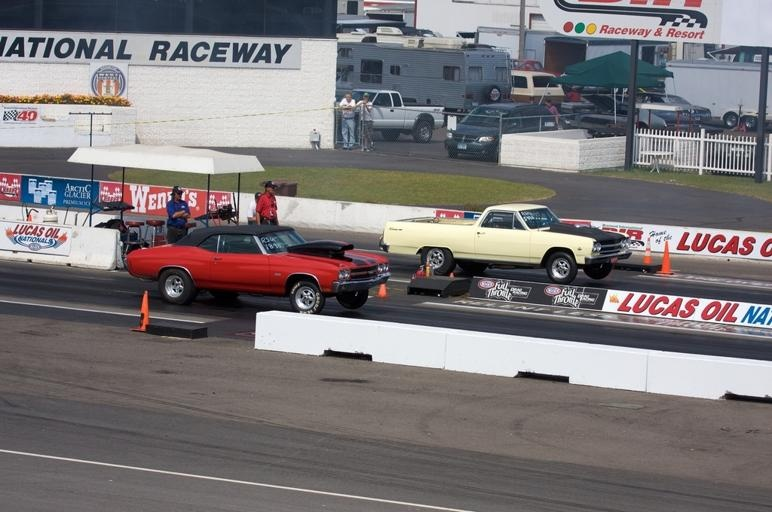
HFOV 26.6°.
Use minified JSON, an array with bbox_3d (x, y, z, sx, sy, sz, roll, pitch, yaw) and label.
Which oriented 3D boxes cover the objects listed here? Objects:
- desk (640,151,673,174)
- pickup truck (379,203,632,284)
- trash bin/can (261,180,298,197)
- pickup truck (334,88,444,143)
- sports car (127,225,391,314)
[{"bbox_3d":[11.105,-3.830,66.177,1.049,0.592,0.985,0,-1,0],"label":"desk"},{"bbox_3d":[3.766,-0.604,50.878,7.408,2.037,3.096,5,12,32],"label":"pickup truck"},{"bbox_3d":[-3.712,-2.419,57.753,0.901,0.387,0.678,6,10,36],"label":"trash bin/can"},{"bbox_3d":[0.458,-6.261,72.180,4.035,1.496,2.174,-1,3,-32],"label":"pickup truck"},{"bbox_3d":[-3.655,0.348,46.381,6.727,2.269,1.418,4,11,15],"label":"sports car"}]
